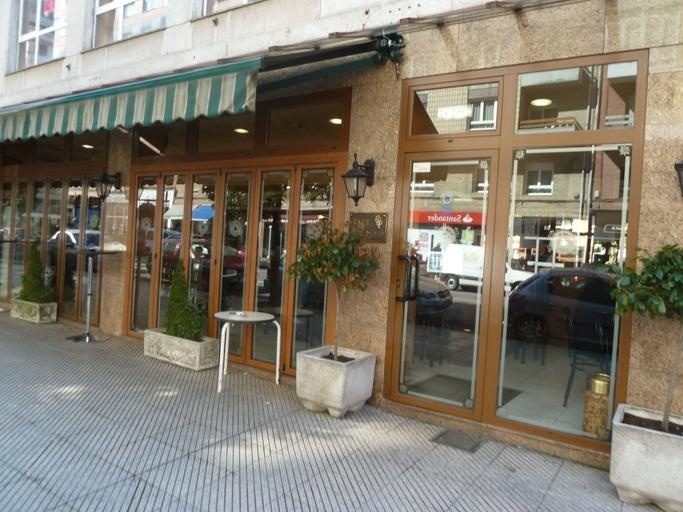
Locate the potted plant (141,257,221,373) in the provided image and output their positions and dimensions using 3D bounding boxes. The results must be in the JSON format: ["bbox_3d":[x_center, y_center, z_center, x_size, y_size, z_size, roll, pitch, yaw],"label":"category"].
[{"bbox_3d":[-2.693,1.032,9.496,1.528,1.998,0.624,5,4,43],"label":"potted plant"}]

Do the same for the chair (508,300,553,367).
[{"bbox_3d":[2.401,1.011,7.210,0.521,1.128,0.552,4,6,45],"label":"chair"}]

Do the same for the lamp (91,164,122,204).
[{"bbox_3d":[-4.641,-1.416,10.992,0.496,0.621,0.369,1,-1,42],"label":"lamp"}]

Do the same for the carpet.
[{"bbox_3d":[1.547,1.785,7.371,1.416,0.256,0.038,2,-1,28],"label":"carpet"}]

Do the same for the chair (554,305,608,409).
[{"bbox_3d":[3.020,1.284,6.827,0.419,1.004,0.458,19,10,32],"label":"chair"}]

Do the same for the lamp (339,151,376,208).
[{"bbox_3d":[0.243,-1.082,7.860,0.416,0.753,0.282,11,-14,-42],"label":"lamp"}]

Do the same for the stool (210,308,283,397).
[{"bbox_3d":[-1.456,1.408,8.384,0.957,1.250,1.035,-3,6,-32],"label":"stool"}]

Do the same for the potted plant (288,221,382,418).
[{"bbox_3d":[-0.102,0.824,7.707,1.203,2.057,0.849,1,-1,26],"label":"potted plant"}]
